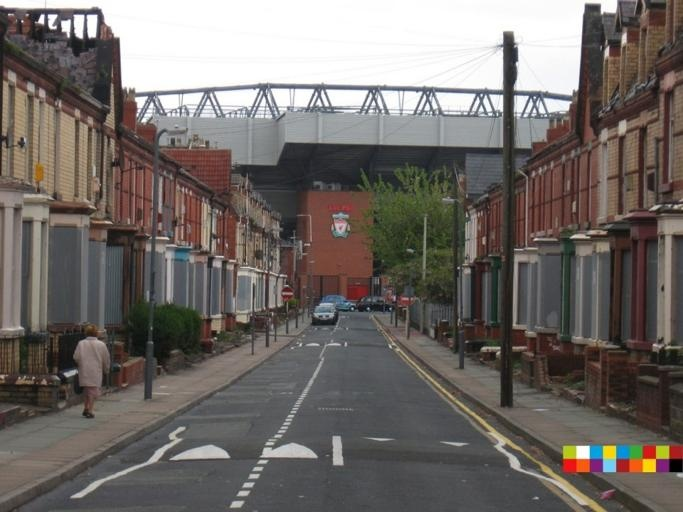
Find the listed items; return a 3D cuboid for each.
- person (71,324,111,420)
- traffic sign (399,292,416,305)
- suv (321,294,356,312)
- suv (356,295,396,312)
[{"bbox_3d":[-6.629,3.069,30.439,0.918,2.473,1.377,-1,-4,-13],"label":"person"},{"bbox_3d":[6.266,3.914,108.982,1.666,1.809,1.447,2,1,5],"label":"traffic sign"},{"bbox_3d":[-0.410,5.132,120.986,2.848,1.626,1.882,-1,1,2],"label":"suv"},{"bbox_3d":[3.489,5.317,125.246,2.862,1.614,1.858,3,-2,-14],"label":"suv"}]
